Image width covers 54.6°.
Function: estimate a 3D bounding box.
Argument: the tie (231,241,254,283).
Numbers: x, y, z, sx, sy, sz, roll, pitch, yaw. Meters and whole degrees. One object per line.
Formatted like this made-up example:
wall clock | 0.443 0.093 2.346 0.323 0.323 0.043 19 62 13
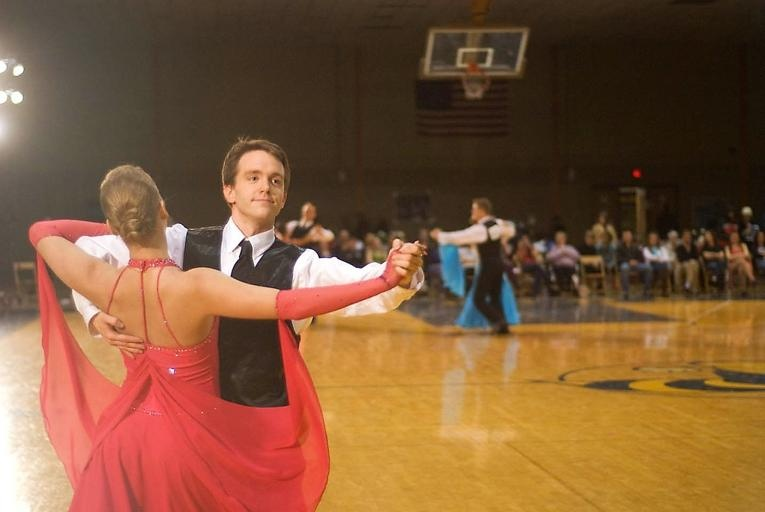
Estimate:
tie | -0.690 0.045 3.666 0.066 0.293 0.074 10 -15 -19
